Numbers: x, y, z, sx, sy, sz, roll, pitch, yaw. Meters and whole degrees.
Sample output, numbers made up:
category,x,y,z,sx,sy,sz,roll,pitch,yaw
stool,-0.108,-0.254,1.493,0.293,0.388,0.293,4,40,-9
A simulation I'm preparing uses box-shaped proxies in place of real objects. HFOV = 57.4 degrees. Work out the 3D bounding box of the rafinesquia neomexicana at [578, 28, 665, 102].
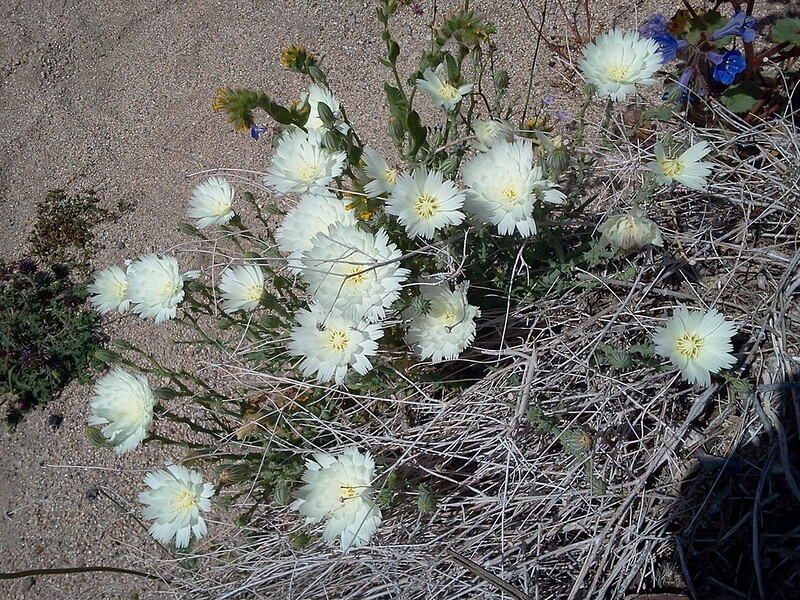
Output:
category,x,y,z,sx,sy,sz,roll,pitch,yaw
rafinesquia neomexicana,0.766,-0.809,2.547,0.265,0.168,0.269,7,66,17

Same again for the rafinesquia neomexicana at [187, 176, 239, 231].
category,x,y,z,sx,sy,sz,roll,pitch,yaw
rafinesquia neomexicana,-0.660,-0.358,2.698,0.179,0.091,0.186,-33,76,15

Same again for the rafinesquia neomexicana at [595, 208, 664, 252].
category,x,y,z,sx,sy,sz,roll,pitch,yaw
rafinesquia neomexicana,0.803,-0.196,2.572,0.163,0.085,0.177,-6,63,10

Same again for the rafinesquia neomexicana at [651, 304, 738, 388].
category,x,y,z,sx,sy,sz,roll,pitch,yaw
rafinesquia neomexicana,0.991,0.151,2.466,0.260,0.107,0.257,3,66,15

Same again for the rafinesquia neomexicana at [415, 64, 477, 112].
category,x,y,z,sx,sy,sz,roll,pitch,yaw
rafinesquia neomexicana,0.151,-0.797,2.628,0.213,0.231,0.097,-28,90,23

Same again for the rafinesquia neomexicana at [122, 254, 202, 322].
category,x,y,z,sx,sy,sz,roll,pitch,yaw
rafinesquia neomexicana,-0.832,-0.039,2.604,0.215,0.101,0.226,-37,76,15

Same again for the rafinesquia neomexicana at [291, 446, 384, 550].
category,x,y,z,sx,sy,sz,roll,pitch,yaw
rafinesquia neomexicana,-0.188,0.645,2.424,0.274,0.141,0.302,19,71,22

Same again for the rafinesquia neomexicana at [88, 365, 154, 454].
category,x,y,z,sx,sy,sz,roll,pitch,yaw
rafinesquia neomexicana,-0.945,0.371,2.529,0.214,0.116,0.238,-38,62,-6

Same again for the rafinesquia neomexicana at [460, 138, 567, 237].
category,x,y,z,sx,sy,sz,roll,pitch,yaw
rafinesquia neomexicana,0.334,-0.375,2.441,0.246,0.142,0.278,7,67,17

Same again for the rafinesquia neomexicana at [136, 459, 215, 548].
category,x,y,z,sx,sy,sz,roll,pitch,yaw
rafinesquia neomexicana,-0.754,0.725,2.535,0.253,0.197,0.253,11,67,19

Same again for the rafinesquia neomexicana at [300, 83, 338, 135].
category,x,y,z,sx,sy,sz,roll,pitch,yaw
rafinesquia neomexicana,-0.293,-0.687,2.655,0.082,0.171,0.183,-7,98,-24

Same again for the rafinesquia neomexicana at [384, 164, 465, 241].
category,x,y,z,sx,sy,sz,roll,pitch,yaw
rafinesquia neomexicana,0.102,-0.309,2.396,0.260,0.262,0.055,35,119,35

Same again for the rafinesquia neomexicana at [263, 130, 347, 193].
category,x,y,z,sx,sy,sz,roll,pitch,yaw
rafinesquia neomexicana,-0.323,-0.483,2.526,0.276,0.084,0.210,-5,64,12
